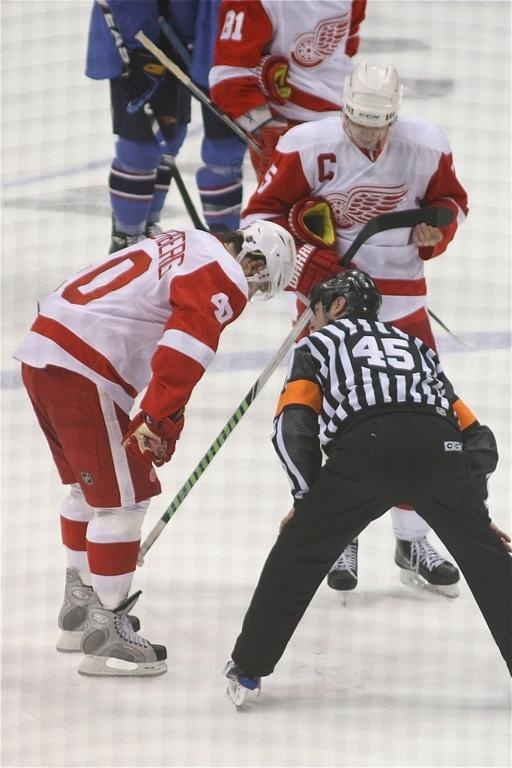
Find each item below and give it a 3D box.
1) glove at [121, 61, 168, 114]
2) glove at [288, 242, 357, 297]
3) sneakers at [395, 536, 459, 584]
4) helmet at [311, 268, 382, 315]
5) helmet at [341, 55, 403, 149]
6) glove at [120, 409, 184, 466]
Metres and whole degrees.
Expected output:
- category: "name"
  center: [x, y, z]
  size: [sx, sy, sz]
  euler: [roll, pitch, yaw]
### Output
- category: "glove"
  center: [-0.532, -1.380, 4.311]
  size: [0.209, 0.215, 0.087]
  euler: [3, 9, 7]
- category: "glove"
  center: [0.202, -0.391, 3.165]
  size: [0.086, 0.164, 0.238]
  euler: [36, 16, 22]
- category: "sneakers"
  center: [0.603, 0.624, 3.362]
  size: [0.103, 0.116, 0.277]
  euler: [-32, 25, -24]
- category: "helmet"
  center: [0.287, -0.269, 2.833]
  size: [0.187, 0.139, 0.143]
  euler: [13, -1, 27]
- category: "helmet"
  center: [0.368, -0.915, 3.046]
  size: [0.239, 0.279, 0.253]
  euler: [5, 70, 1]
- category: "glove"
  center: [-0.287, 0.163, 2.582]
  size: [0.164, 0.225, 0.127]
  euler: [2, 52, -17]
